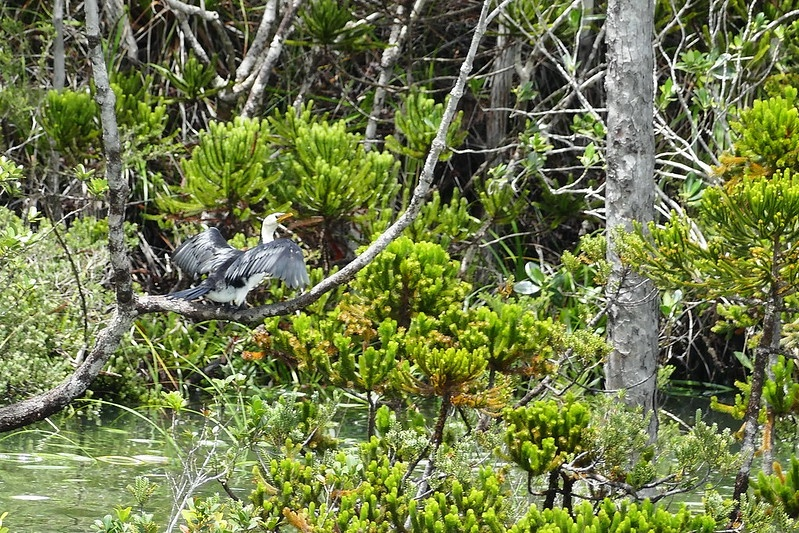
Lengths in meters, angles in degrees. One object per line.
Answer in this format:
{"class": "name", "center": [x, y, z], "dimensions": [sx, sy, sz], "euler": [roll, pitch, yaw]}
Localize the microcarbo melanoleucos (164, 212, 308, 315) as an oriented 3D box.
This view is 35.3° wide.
{"class": "microcarbo melanoleucos", "center": [-1.079, -0.019, 7.980], "dimensions": [1.163, 0.597, 0.998], "euler": [7, 7, 27]}
